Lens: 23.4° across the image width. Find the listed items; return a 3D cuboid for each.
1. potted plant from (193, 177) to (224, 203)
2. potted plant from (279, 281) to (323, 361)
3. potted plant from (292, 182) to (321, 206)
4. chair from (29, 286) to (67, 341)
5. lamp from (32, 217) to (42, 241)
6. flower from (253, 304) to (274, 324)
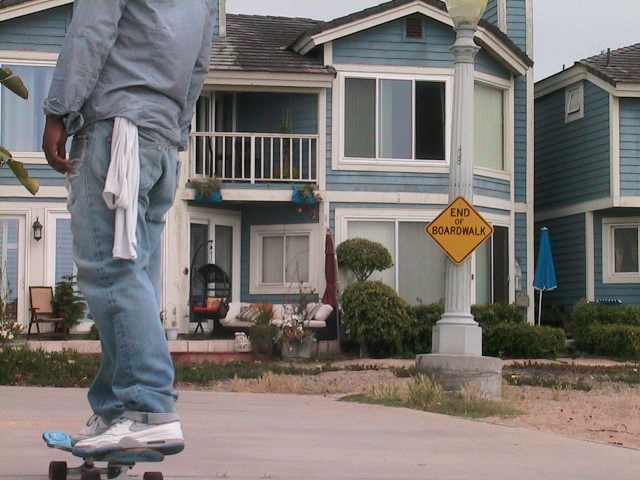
[{"bbox_3d":[-2.234,-0.958,30.514,0.517,0.369,0.493,-1,1,8],"label":"potted plant"},{"bbox_3d":[-0.372,1.678,28.714,0.768,1.142,1.415,2,-6,-1],"label":"potted plant"},{"bbox_3d":[-0.298,-0.890,30.757,0.579,0.371,0.432,2,-6,-8],"label":"potted plant"},{"bbox_3d":[-5.335,1.292,29.575,0.748,1.204,0.890,3,-5,-37],"label":"chair"},{"bbox_3d":[-5.521,-0.154,30.045,0.200,0.354,0.108,3,-6,-13],"label":"lamp"},{"bbox_3d":[-1.053,1.384,28.798,0.317,0.423,1.004,2,-6,-1],"label":"flower"}]
